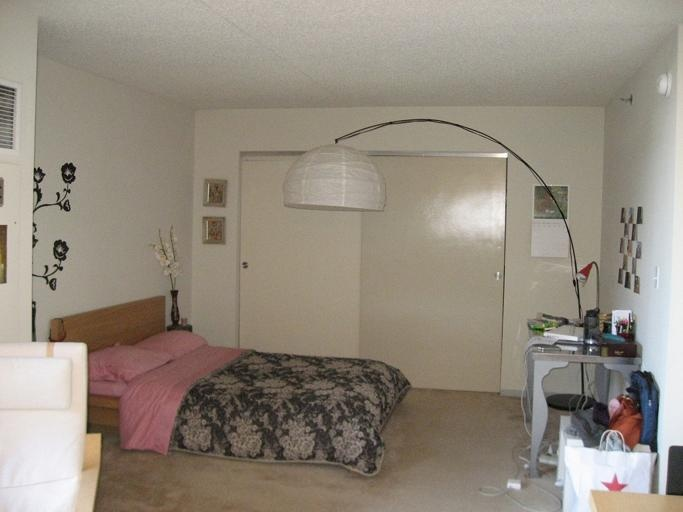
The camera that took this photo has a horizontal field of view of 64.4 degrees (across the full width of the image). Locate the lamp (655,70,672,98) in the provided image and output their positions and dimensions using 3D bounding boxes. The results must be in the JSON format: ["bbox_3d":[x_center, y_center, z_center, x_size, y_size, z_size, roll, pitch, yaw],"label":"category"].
[{"bbox_3d":[2.158,-1.155,3.633,0.077,0.164,0.133,5,8,25],"label":"lamp"}]

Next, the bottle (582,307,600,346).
[{"bbox_3d":[1.925,0.545,4.185,0.106,0.275,0.114,3,-4,0],"label":"bottle"}]

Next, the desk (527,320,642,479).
[{"bbox_3d":[1.846,0.941,4.093,0.696,0.509,0.427,-3,11,27],"label":"desk"}]

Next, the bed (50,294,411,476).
[{"bbox_3d":[-0.912,1.121,4.512,1.914,0.776,1.559,1,8,8],"label":"bed"}]

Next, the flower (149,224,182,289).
[{"bbox_3d":[-1.830,-0.057,5.827,0.216,0.501,0.402,3,8,11],"label":"flower"}]

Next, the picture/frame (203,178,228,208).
[{"bbox_3d":[-1.440,-0.727,6.274,0.300,0.370,0.026,1,1,4],"label":"picture/frame"}]

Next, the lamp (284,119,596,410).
[{"bbox_3d":[0.646,0.036,3.778,2.159,2.053,0.677,4,13,13],"label":"lamp"}]

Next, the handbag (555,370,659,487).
[{"bbox_3d":[1.897,1.089,3.708,0.412,0.249,0.544,4,13,43],"label":"handbag"}]
